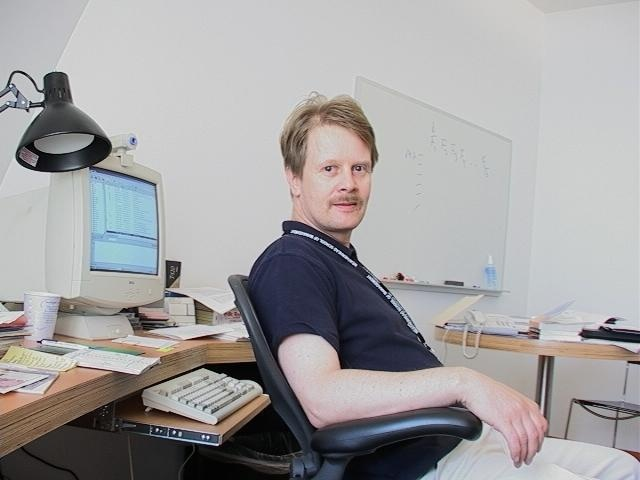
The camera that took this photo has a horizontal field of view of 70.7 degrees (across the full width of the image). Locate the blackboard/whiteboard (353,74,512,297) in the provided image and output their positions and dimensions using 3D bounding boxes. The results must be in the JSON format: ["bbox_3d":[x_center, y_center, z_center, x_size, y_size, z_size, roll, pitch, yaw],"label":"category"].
[{"bbox_3d":[0.703,-0.333,2.879,1.691,1.146,0.060,13,-16,-36],"label":"blackboard/whiteboard"}]

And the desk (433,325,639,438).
[{"bbox_3d":[0.935,0.577,1.993,0.692,0.451,0.690,3,2,42],"label":"desk"}]

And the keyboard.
[{"bbox_3d":[-0.339,0.448,1.327,0.238,0.049,0.313,5,-2,17],"label":"keyboard"}]
